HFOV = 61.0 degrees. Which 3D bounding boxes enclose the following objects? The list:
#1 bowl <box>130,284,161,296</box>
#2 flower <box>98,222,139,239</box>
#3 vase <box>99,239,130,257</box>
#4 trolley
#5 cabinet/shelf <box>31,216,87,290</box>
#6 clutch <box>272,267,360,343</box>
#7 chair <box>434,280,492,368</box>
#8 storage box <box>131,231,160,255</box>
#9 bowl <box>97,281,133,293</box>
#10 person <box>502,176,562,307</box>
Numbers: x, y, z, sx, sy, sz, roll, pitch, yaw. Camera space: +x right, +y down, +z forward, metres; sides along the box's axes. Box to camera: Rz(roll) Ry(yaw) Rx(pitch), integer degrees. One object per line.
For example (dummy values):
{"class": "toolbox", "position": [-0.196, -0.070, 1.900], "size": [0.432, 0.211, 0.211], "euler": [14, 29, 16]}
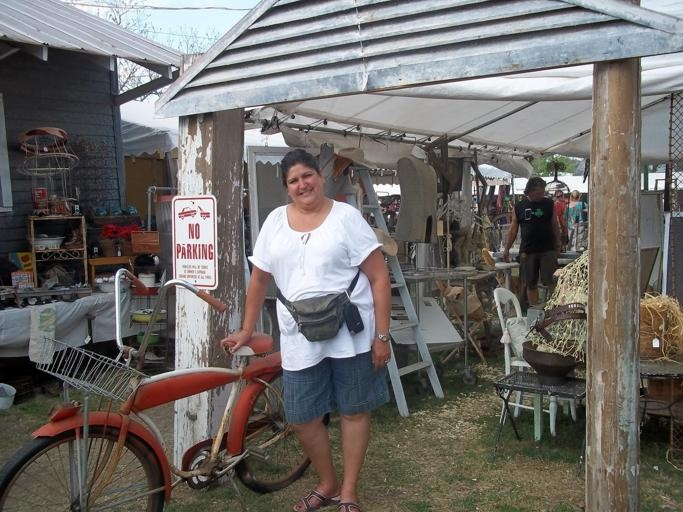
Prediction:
{"class": "bowl", "position": [-1.983, 0.351, 5.910], "size": [0.319, 0.105, 0.321], "euler": [0, -3, 0]}
{"class": "flower", "position": [-3.175, -0.349, 8.417], "size": [0.308, 0.147, 0.302], "euler": [0, 11, -11]}
{"class": "vase", "position": [-3.209, -0.115, 8.328], "size": [0.348, 0.242, 0.332], "euler": [5, 9, 32]}
{"class": "trolley", "position": [1.158, 0.825, 7.313], "size": [1.556, 1.358, 1.244], "euler": [-1, -2, 24]}
{"class": "cabinet/shelf", "position": [-4.004, -0.164, 8.199], "size": [0.792, 1.144, 0.676], "euler": [-4, 15, -36]}
{"class": "clutch", "position": [-0.142, 0.341, 4.039], "size": [0.605, 0.438, 0.581], "euler": [-10, 14, -9]}
{"class": "chair", "position": [1.827, 0.901, 8.376], "size": [0.860, 1.128, 0.681], "euler": [3, 10, 5]}
{"class": "storage box", "position": [-2.744, -0.187, 8.220], "size": [0.477, 0.359, 0.274], "euler": [1, 10, -1]}
{"class": "bowl", "position": [-2.613, 0.368, 6.771], "size": [0.439, 0.147, 0.325], "euler": [1, -1, 2]}
{"class": "person", "position": [3.085, -0.244, 9.322], "size": [0.722, 2.142, 0.731], "euler": [0, 1, 20]}
